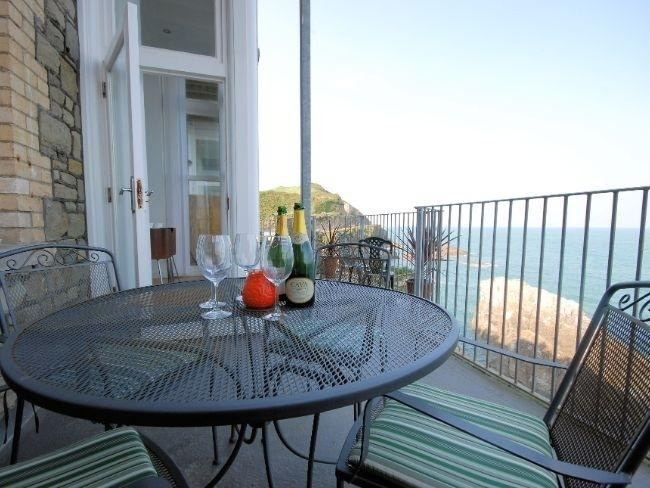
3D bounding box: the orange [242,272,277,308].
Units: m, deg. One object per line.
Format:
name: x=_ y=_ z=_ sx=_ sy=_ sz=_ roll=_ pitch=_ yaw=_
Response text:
orange: x=-0.251 y=0.182 z=1.737 sx=0.120 sy=0.136 sz=0.130 roll=5 pitch=10 yaw=29
